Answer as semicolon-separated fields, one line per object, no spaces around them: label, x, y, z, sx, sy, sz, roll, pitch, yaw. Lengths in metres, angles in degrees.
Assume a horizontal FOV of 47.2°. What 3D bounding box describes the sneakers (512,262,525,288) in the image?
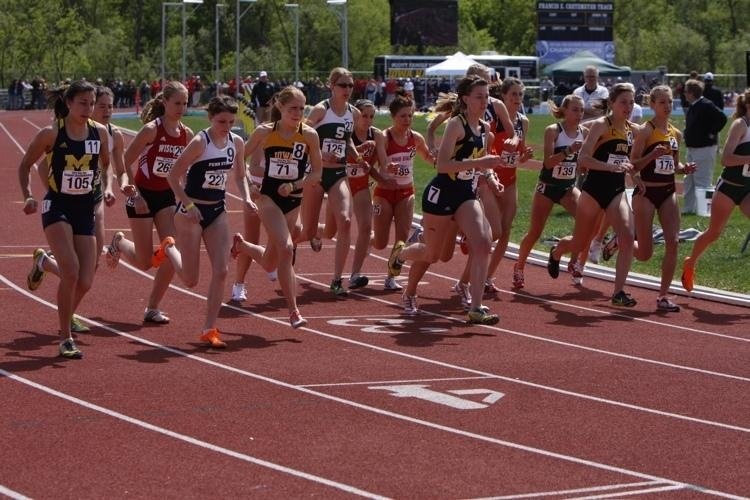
sneakers;1.933;0.326;11.570;0.130;0.180;0.406;-1;19;-3

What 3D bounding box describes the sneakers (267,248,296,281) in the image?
sneakers;-1.016;0.155;9.260;0.169;0.524;0.221;5;-2;-3

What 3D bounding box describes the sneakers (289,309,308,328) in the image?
sneakers;-0.821;0.740;9.129;0.116;0.151;0.320;-15;-2;-17

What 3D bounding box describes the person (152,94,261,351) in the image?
person;-1.704;-0.304;8.827;0.953;2.524;0.803;-2;11;-14

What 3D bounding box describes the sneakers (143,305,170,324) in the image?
sneakers;-2.426;0.732;9.552;0.287;0.125;0.149;2;5;38

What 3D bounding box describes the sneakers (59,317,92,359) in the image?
sneakers;-3.068;0.915;8.675;0.199;0.254;0.553;-11;23;-40

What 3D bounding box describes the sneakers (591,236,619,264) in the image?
sneakers;3.183;0.013;11.976;0.161;0.448;0.198;-7;38;-15

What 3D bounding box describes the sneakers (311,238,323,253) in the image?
sneakers;-0.812;-0.062;11.822;0.127;0.218;0.205;3;-8;-7

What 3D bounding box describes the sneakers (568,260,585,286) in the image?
sneakers;2.750;0.333;11.806;0.130;0.410;0.157;-10;-16;2

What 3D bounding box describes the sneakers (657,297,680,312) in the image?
sneakers;3.532;0.666;10.340;0.270;0.185;0.221;3;12;13

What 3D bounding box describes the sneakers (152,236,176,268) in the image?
sneakers;-2.286;0.053;9.279;0.193;0.171;0.451;9;-36;-30

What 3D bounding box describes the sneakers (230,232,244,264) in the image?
sneakers;-1.558;-0.015;9.636;0.205;0.170;0.481;-1;-19;-1

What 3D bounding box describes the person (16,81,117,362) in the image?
person;-3.069;-0.341;8.601;0.865;2.669;1.074;-3;11;-18

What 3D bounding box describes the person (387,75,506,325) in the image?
person;0.850;-0.519;9.589;1.163;2.761;0.915;3;11;14

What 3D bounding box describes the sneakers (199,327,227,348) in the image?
sneakers;-1.665;0.906;8.825;0.130;0.154;0.356;-10;7;-31

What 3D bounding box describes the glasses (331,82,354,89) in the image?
glasses;-0.359;-2.035;10.665;0.134;0.068;0.235;12;17;43

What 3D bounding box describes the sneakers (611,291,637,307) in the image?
sneakers;2.914;0.592;10.196;0.137;0.160;0.369;2;0;-27

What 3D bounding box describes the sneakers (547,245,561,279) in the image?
sneakers;2.404;0.187;11.458;0.168;0.458;0.186;-6;18;-16

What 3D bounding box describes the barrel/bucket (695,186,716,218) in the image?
barrel/bucket;5.499;-0.795;14.354;0.296;0.386;0.522;0;9;0

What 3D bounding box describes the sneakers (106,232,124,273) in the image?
sneakers;-3.240;0.056;10.722;0.195;0.532;0.246;9;25;14
